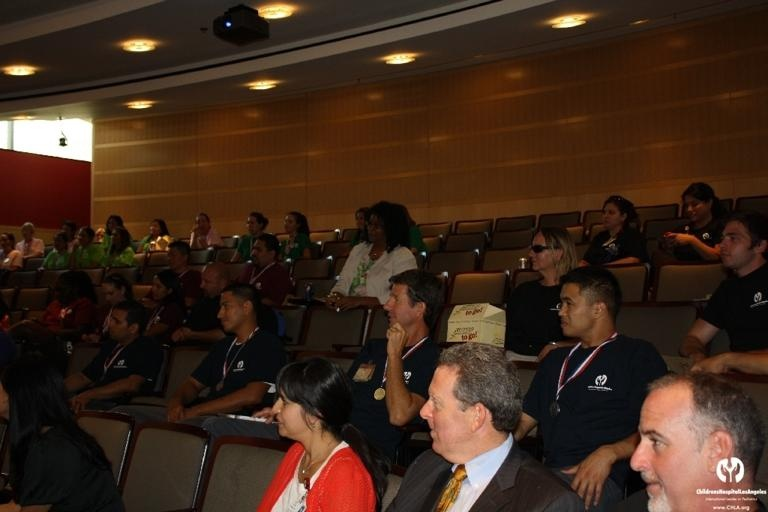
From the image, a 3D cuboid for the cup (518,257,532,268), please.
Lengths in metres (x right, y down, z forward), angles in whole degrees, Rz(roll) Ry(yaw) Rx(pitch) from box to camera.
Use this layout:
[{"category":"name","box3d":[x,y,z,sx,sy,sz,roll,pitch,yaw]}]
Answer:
[{"category":"cup","box3d":[1.431,0.070,5.793,0.100,0.121,0.104,0,-7,0]}]
